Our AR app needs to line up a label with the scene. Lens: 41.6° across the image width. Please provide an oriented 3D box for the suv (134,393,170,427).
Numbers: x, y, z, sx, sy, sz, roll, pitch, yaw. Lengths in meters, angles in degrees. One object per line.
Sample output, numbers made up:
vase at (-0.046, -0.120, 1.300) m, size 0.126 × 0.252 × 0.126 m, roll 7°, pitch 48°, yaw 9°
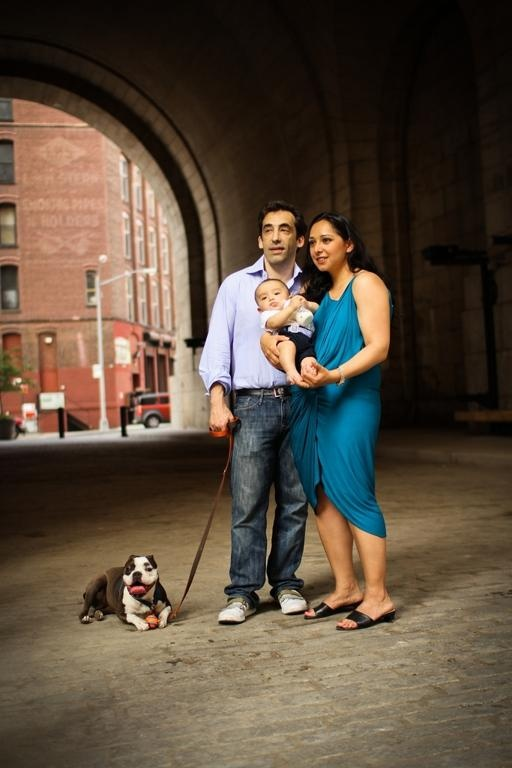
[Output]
suv at (-6.197, 1.605, 40.944) m, size 1.908 × 1.419 × 2.210 m, roll -2°, pitch -2°, yaw -25°

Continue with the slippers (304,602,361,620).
slippers at (0.356, 1.036, 3.143) m, size 0.264 × 0.058 × 0.093 m, roll 3°, pitch -12°, yaw -31°

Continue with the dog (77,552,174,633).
dog at (-0.599, 0.953, 3.143) m, size 0.314 × 0.259 × 0.519 m, roll 2°, pitch -8°, yaw -21°

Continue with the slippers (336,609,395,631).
slippers at (0.480, 1.003, 2.913) m, size 0.252 × 0.071 × 0.093 m, roll 2°, pitch -17°, yaw -25°

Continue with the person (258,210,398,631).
person at (0.355, 0.145, 3.003) m, size 0.641 × 1.537 × 0.536 m, roll -2°, pitch -2°, yaw -34°

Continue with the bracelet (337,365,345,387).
bracelet at (0.348, -0.029, 2.758) m, size 0.034 × 0.066 × 0.053 m, roll 5°, pitch -4°, yaw -1°
